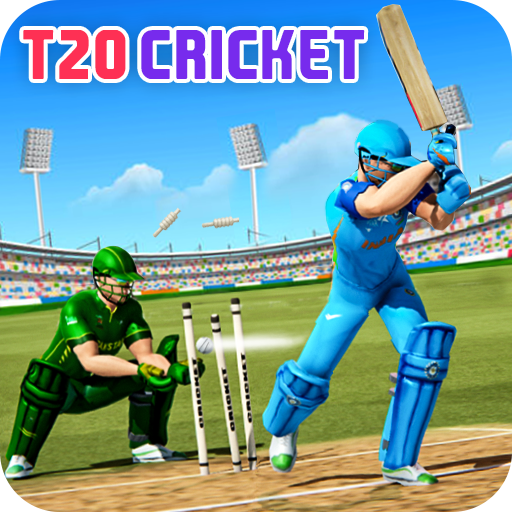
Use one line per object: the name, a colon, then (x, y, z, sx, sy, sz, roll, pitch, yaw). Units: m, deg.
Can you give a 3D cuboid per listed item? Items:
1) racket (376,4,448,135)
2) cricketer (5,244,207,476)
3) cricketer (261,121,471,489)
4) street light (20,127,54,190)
racket: (0.787, -0.935, 3.117, 0.332, 0.658, 0.121, -1, 1, 8)
cricketer: (-0.777, 0.836, 4.838, 1.758, 1.668, 1.705, -20, -21, 41)
cricketer: (0.563, 0.192, 3.374, 1.213, 1.988, 0.840, -4, -2, -1)
street light: (-17.338, -8.249, 49.375, 2.675, 3.478, 1.535, 0, -5, 4)
